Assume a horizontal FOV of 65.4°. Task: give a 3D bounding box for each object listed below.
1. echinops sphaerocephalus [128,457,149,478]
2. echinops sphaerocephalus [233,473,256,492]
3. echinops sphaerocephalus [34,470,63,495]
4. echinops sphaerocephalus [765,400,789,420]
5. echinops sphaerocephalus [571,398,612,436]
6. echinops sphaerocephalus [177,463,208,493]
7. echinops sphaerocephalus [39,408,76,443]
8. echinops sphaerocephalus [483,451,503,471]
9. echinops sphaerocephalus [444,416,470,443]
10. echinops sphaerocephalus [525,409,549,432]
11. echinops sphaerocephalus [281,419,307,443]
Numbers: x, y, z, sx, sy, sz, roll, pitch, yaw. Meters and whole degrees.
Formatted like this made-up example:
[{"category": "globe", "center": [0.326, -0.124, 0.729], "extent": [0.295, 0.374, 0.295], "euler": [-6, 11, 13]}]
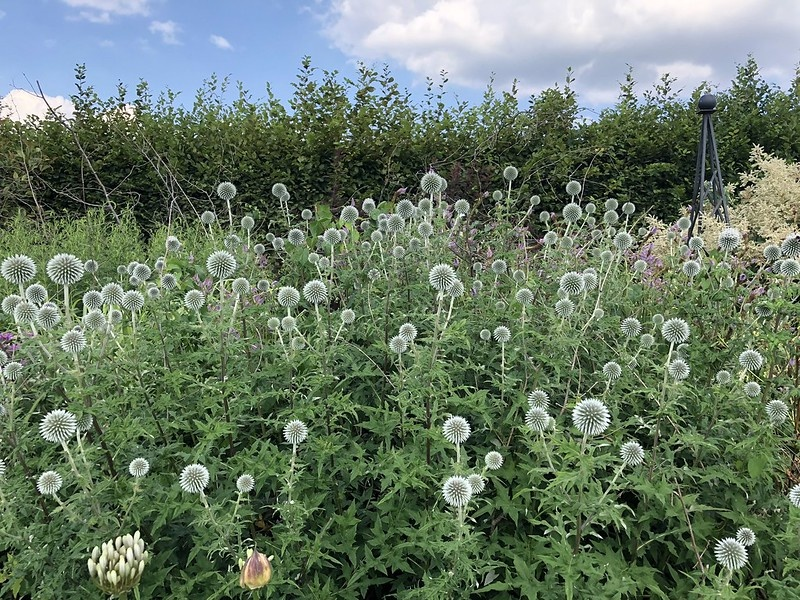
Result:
[{"category": "echinops sphaerocephalus", "center": [-1.794, 1.143, 4.293], "extent": [0.146, 0.156, 0.074], "euler": [4, -9, -11]}, {"category": "echinops sphaerocephalus", "center": [-1.056, 1.229, 4.221], "extent": [0.133, 0.136, 0.225], "euler": [15, -14, -16]}, {"category": "echinops sphaerocephalus", "center": [-2.453, 1.277, 4.355], "extent": [0.159, 0.169, 0.159], "euler": [-10, 36, -43]}, {"category": "echinops sphaerocephalus", "center": [2.910, 0.845, 4.809], "extent": [0.108, 0.111, 0.151], "euler": [-16, -17, 11]}, {"category": "echinops sphaerocephalus", "center": [1.285, 0.790, 4.148], "extent": [0.211, 0.262, 0.227], "euler": [-3, -2, -23]}, {"category": "echinops sphaerocephalus", "center": [-1.355, 1.213, 4.144], "extent": [0.197, 0.216, 0.130], "euler": [8, 15, 29]}, {"category": "echinops sphaerocephalus", "center": [-2.393, 0.886, 4.361], "extent": [0.179, 0.192, 0.179], "euler": [21, 30, -33]}, {"category": "echinops sphaerocephalus", "center": [0.655, 1.126, 4.356], "extent": [0.114, 0.117, 0.181], "euler": [28, -15, 4]}, {"category": "echinops sphaerocephalus", "center": [0.391, 0.900, 4.238], "extent": [0.158, 0.194, 0.181], "euler": [-4, 14, -18]}, {"category": "echinops sphaerocephalus", "center": [0.942, 0.817, 4.322], "extent": [0.149, 0.161, 0.158], "euler": [-13, -21, 18]}, {"category": "echinops sphaerocephalus", "center": [-0.722, 0.916, 4.288], "extent": [0.135, 0.194, 0.230], "euler": [-4, 14, -17]}]
